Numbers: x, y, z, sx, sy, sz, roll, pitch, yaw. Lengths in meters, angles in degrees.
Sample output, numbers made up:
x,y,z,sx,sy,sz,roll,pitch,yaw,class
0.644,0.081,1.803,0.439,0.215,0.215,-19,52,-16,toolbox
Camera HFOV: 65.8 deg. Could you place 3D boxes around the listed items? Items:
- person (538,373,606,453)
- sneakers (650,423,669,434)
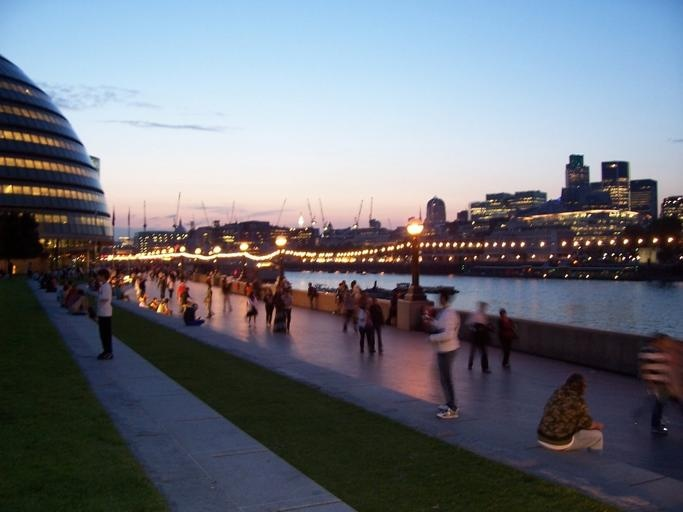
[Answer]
x,y,z,sx,sy,sz,roll,pitch,yaw,class
3.433,2.377,8.049,0.909,1.159,0.418,-3,5,-8,person
5.538,3.023,9.233,0.186,0.117,0.192,3,-4,-19,sneakers
